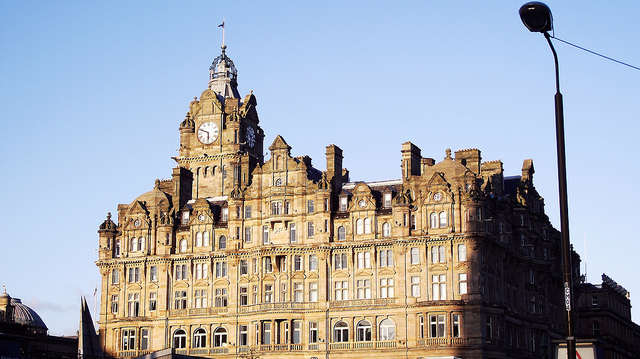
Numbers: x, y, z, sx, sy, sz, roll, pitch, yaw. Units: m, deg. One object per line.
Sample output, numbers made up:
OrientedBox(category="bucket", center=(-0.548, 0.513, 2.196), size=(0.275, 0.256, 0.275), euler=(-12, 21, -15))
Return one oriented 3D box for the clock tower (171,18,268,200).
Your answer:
OrientedBox(category="clock tower", center=(-18.933, -9.269, 266.359), size=(12.687, 38.756, 10.143), euler=(-15, -41, 17))
